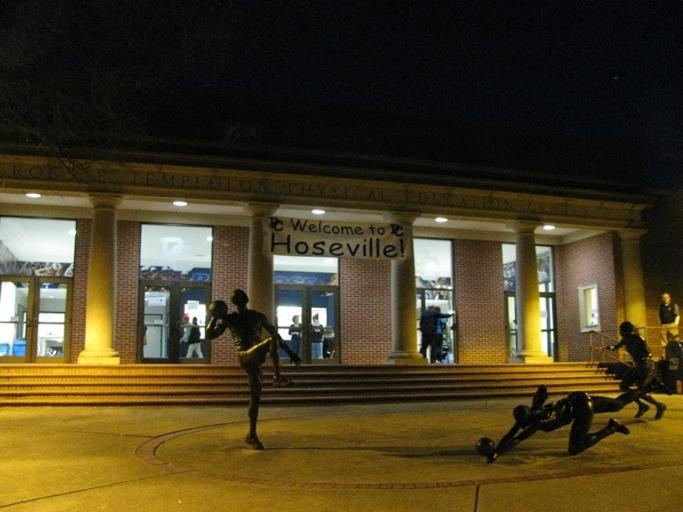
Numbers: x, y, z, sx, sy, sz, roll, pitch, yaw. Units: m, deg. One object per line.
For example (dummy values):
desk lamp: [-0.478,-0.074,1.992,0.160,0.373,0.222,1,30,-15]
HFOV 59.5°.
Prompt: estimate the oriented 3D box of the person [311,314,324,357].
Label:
person: [-0.860,2.794,20.890,0.456,1.626,0.177,3,-9,-10]

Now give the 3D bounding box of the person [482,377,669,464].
person: [2.845,2.052,7.526,2.386,0.605,0.618,-11,11,-2]

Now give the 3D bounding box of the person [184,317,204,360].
person: [-4.881,2.738,19.871,0.534,1.390,0.196,5,-10,-26]

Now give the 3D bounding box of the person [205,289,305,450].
person: [-1.163,1.473,8.151,1.513,2.183,0.852,-4,-25,-15]
